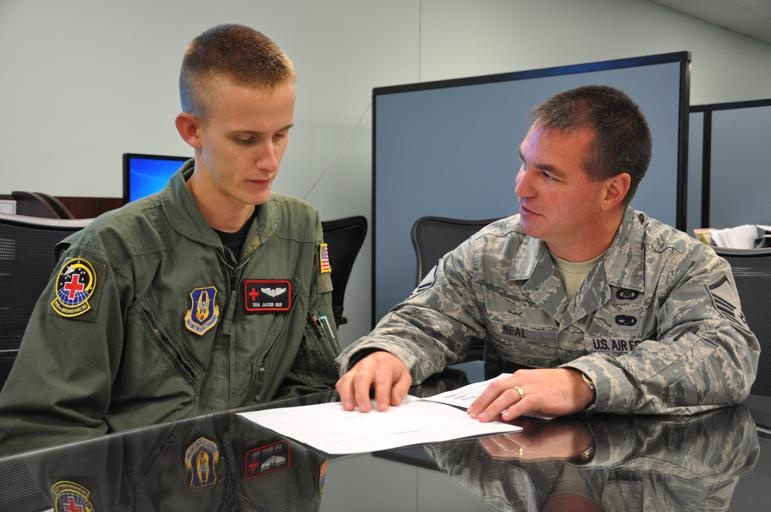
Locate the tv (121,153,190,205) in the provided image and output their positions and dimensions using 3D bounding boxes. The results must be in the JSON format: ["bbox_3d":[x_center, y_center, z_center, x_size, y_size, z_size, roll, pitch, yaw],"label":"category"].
[{"bbox_3d":[-1.005,-0.335,2.675,0.054,0.274,0.426,6,8,37],"label":"tv"}]

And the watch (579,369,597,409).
[{"bbox_3d":[0.437,0.282,1.325,0.020,0.052,0.046,9,-8,-17],"label":"watch"}]

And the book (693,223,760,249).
[{"bbox_3d":[2.087,-0.124,3.774,0.357,0.157,0.279,-4,1,15],"label":"book"}]

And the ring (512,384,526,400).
[{"bbox_3d":[0.279,0.280,1.295,0.015,0.025,0.025,-12,-33,-12],"label":"ring"}]
